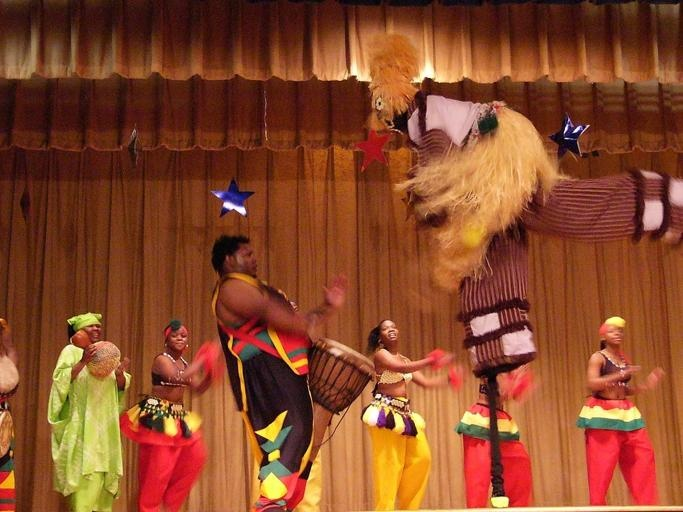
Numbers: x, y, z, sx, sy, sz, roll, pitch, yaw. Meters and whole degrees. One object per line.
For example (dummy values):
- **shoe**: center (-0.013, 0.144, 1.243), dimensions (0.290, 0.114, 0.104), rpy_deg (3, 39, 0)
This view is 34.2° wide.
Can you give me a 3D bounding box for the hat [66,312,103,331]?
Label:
- **hat**: center (-2.038, 0.520, 8.673), dimensions (0.181, 0.113, 0.152), rpy_deg (-7, -7, -8)
